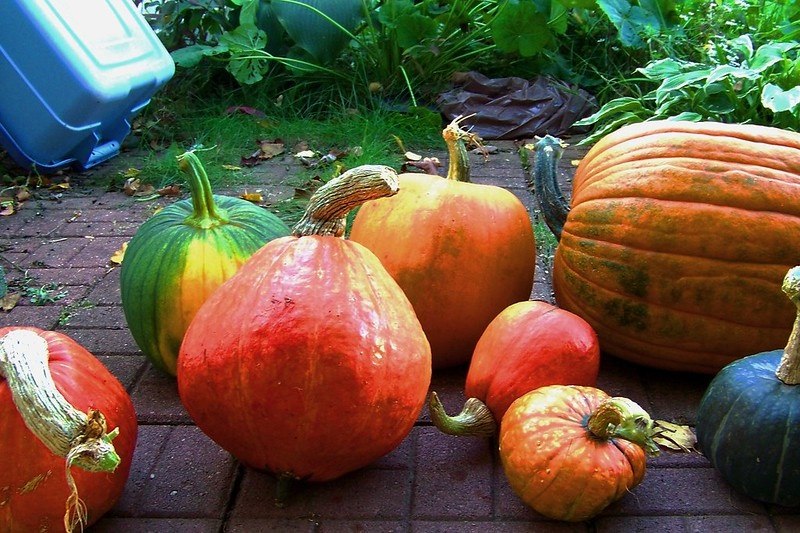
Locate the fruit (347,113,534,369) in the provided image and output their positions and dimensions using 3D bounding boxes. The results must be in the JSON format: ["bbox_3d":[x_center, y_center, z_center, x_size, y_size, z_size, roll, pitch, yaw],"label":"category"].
[{"bbox_3d":[0.241,-0.135,3.129,0.951,1.079,0.901,7,15,2],"label":"fruit"}]

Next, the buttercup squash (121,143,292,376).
[{"bbox_3d":[-0.824,0.026,3.033,0.948,0.994,0.807,-3,33,-11],"label":"buttercup squash"}]
